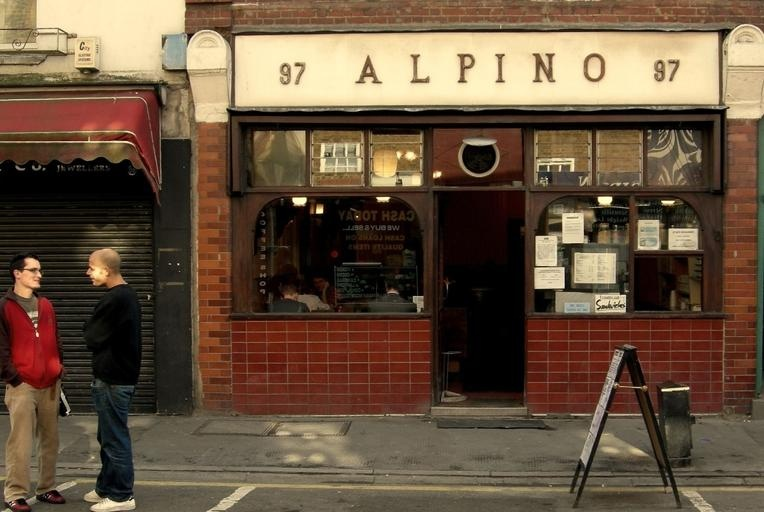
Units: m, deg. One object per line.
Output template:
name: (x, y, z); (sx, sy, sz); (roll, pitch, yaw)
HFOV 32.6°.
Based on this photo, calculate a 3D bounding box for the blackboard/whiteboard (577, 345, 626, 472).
blackboard/whiteboard: (3.063, 2.088, 18.177); (0.638, 1.693, 0.832); (-1, -1, 7)

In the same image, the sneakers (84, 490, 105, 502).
sneakers: (-3.962, 3.261, 17.930); (0.304, 0.119, 0.139); (6, -5, 15)

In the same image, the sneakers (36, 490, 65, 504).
sneakers: (-4.519, 3.263, 17.880); (0.363, 0.128, 0.174); (-2, -2, 13)
